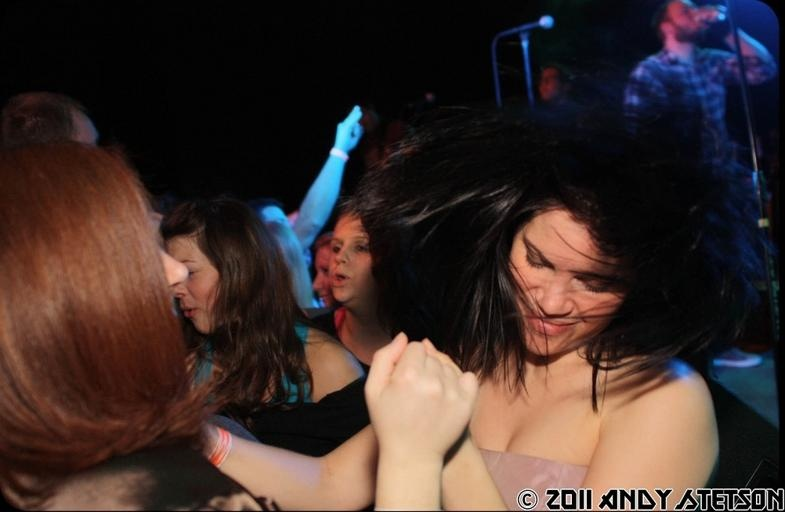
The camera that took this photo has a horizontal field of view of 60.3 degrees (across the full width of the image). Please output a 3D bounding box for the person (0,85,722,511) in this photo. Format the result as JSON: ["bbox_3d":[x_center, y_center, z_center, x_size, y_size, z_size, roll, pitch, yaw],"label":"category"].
[{"bbox_3d":[-0.026,0.119,1.529,1.164,1.090,0.368,1,1,8],"label":"person"}]

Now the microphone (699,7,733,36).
[{"bbox_3d":[0.775,-0.564,1.618,0.071,0.050,0.028,16,7,35],"label":"microphone"}]
